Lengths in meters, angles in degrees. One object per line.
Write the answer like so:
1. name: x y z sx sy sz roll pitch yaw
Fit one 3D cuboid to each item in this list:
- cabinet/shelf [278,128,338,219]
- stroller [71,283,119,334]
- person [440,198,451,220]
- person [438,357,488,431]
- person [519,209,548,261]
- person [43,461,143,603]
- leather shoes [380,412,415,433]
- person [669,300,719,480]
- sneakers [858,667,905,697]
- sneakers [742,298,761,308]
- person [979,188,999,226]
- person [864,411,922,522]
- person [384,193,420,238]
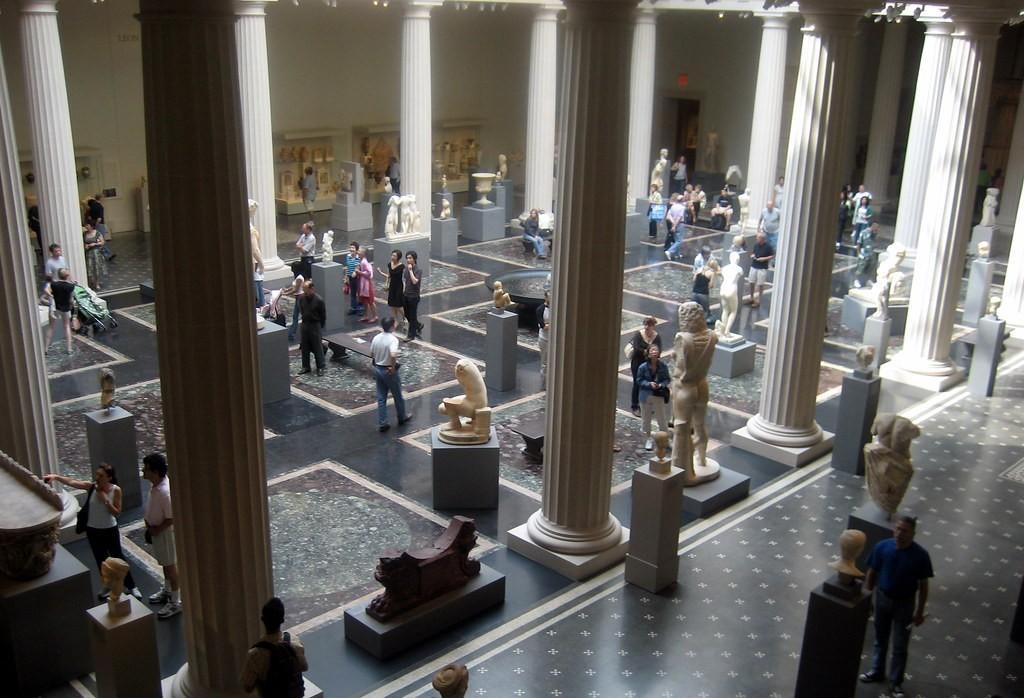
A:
1. cabinet/shelf: -7.315 -6.381 27.381 0.899 2.682 2.806 15 23 31
2. stroller: -9.104 -0.909 16.091 1.485 0.804 0.524 28 32 33
3. person: -1.947 -4.106 22.142 0.290 0.516 0.705 1 16 11
4. person: -0.752 0.727 11.477 0.834 1.167 0.645 14 25 31
5. person: 0.674 -3.363 22.121 0.724 1.287 1.297 -2 16 1
6. person: -4.506 2.052 8.285 0.525 1.703 1.078 -12 19 -32
7. leather shoes: -1.907 1.246 12.529 0.190 0.250 0.590 26 45 32
8. person: 2.502 0.636 10.222 0.648 2.639 0.990 2 16 16
9. sneakers: 3.720 3.363 7.648 0.153 0.189 0.447 -16 30 -35
10. sneakers: 5.999 -1.140 18.831 0.161 0.184 0.437 -10 19 -26
11. person: 11.836 -3.479 18.646 0.296 0.903 0.861 7 18 29
12. person: 4.475 1.402 8.941 0.536 1.131 0.632 6 17 26
13. person: -2.976 -3.618 20.672 0.503 1.120 1.198 19 28 38
